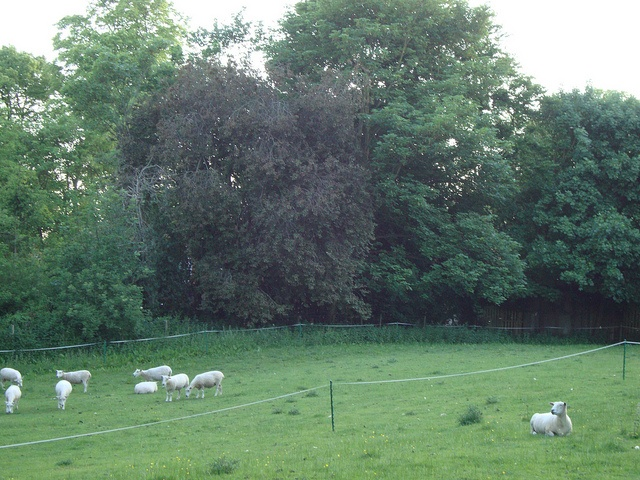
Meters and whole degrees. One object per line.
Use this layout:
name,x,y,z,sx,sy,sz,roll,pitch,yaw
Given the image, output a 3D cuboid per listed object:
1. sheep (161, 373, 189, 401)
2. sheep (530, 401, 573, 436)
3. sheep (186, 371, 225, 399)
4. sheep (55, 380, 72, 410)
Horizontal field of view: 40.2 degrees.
sheep,-7.556,7.606,45.169,0.996,1.413,1.657,5,13,34
sheep,9.969,7.861,37.653,1.498,1.719,2.562,4,-8,-17
sheep,-5.989,7.565,45.496,1.845,1.339,1.895,-3,11,-2
sheep,-12.900,7.771,44.049,0.688,1.136,2.052,-6,11,-17
